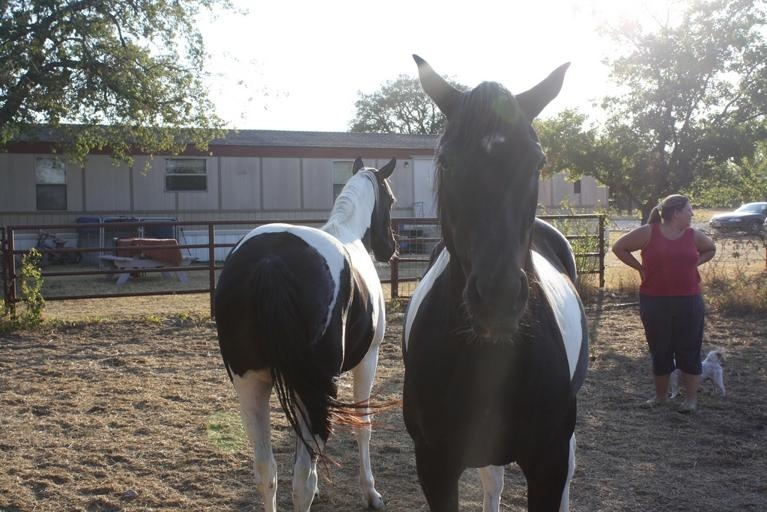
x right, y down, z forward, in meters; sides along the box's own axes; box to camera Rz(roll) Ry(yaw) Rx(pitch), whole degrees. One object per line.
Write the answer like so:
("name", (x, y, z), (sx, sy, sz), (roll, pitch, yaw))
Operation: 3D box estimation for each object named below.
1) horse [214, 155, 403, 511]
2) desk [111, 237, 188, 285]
("horse", (-1.337, 1.455, 14.267), (1.707, 5.936, 6.351), (-2, 1, 11))
("desk", (-6.502, 0.236, 22.157), (1.136, 0.778, 1.508), (-3, -13, 15))
